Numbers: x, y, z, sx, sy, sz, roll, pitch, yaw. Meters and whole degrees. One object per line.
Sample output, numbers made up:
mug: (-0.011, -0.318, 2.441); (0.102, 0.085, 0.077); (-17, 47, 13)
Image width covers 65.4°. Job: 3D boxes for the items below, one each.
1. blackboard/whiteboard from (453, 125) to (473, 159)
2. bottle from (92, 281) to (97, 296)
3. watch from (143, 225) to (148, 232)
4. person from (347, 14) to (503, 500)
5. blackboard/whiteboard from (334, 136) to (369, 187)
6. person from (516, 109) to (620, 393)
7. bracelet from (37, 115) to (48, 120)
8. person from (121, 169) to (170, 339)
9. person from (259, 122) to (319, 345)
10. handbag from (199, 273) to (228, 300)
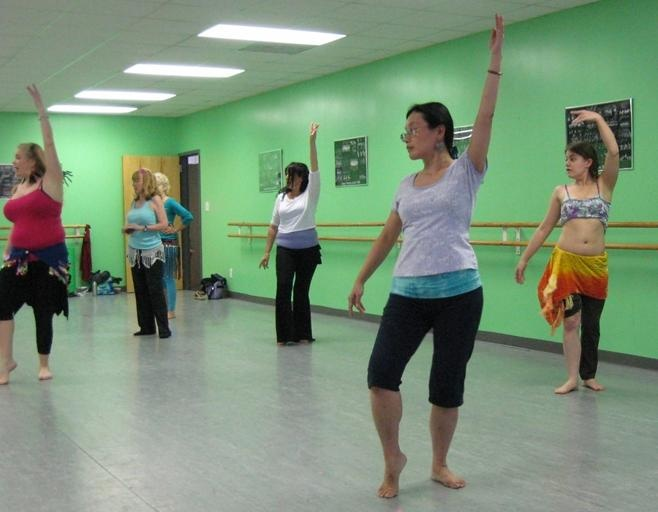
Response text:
blackboard/whiteboard: (1.556, -1.350, 6.241); (0.207, 0.318, 0.195); (-14, 9, -14)
bottle: (-4.907, 0.657, 10.765); (0.087, 0.286, 0.120); (-5, 8, -25)
watch: (-2.179, -0.335, 6.131); (0.047, 0.064, 0.072); (2, -5, -2)
person: (0.415, 0.020, 2.167); (0.660, 1.840, 0.429); (-1, -7, 16)
blackboard/whiteboard: (0.356, -1.421, 7.617); (0.094, 0.841, 0.861); (1, -1, -37)
person: (1.859, 0.009, 3.900); (0.622, 2.129, 0.437); (-1, 7, 7)
bracelet: (-2.270, -1.092, 4.067); (0.060, 0.015, 0.058); (1, 2, 5)
person: (-2.202, -0.020, 6.300); (0.521, 2.085, 0.687); (-4, 7, -18)
person: (-0.363, -0.182, 5.802); (0.532, 2.430, 1.005); (-9, 10, -43)
handbag: (-2.295, 0.621, 10.283); (0.410, 0.430, 0.573); (-1, -2, -30)
